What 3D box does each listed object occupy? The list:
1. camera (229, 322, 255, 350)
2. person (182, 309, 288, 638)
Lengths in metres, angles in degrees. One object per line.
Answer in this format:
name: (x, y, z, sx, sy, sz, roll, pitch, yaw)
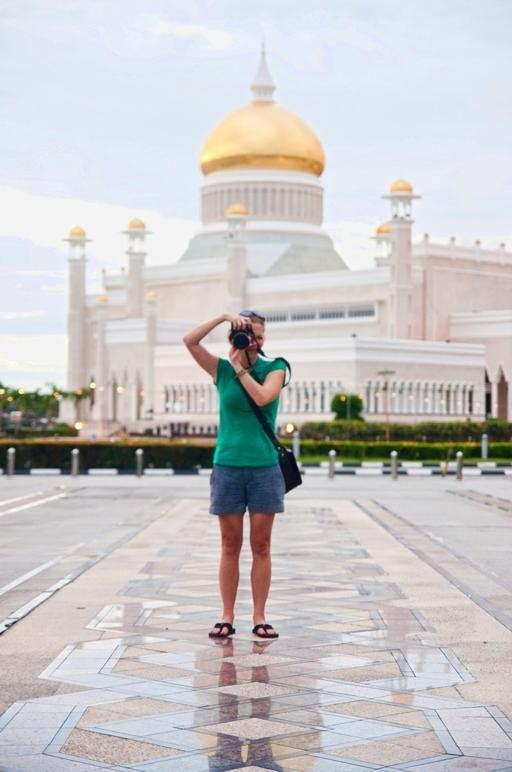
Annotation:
camera: (-0.084, -0.278, 8.548, 0.145, 0.139, 0.160, 0, 1, 0)
person: (-0.106, 0.495, 8.621, 0.612, 1.896, 0.911, 0, 1, 1)
